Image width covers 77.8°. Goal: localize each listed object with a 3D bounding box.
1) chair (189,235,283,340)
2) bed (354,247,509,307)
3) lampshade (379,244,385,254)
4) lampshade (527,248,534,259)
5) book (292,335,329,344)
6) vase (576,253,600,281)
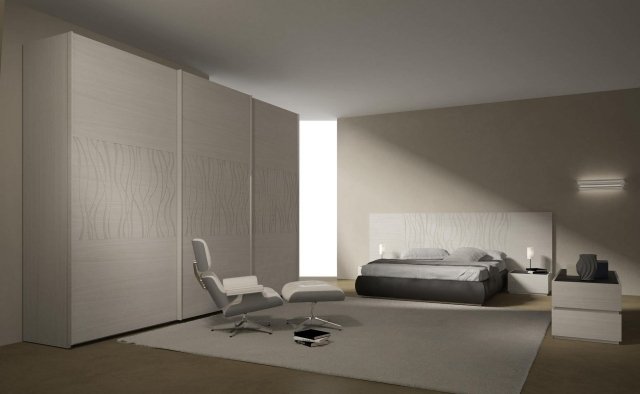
[{"bbox_3d":[-1.172,1.265,5.742,1.316,1.222,0.950,2,-3,-12],"label":"chair"},{"bbox_3d":[2.361,1.499,8.035,2.255,0.866,2.362,1,2,33],"label":"bed"},{"bbox_3d":[1.470,1.219,9.334,0.118,0.227,0.229,1,2,11],"label":"lampshade"},{"bbox_3d":[4.377,1.155,8.210,0.086,0.234,0.155,2,3,36],"label":"lampshade"},{"bbox_3d":[-0.142,1.801,5.046,0.178,0.037,0.178,2,-2,-44],"label":"book"},{"bbox_3d":[3.694,0.943,5.415,0.264,0.306,0.366,1,2,20],"label":"vase"}]
